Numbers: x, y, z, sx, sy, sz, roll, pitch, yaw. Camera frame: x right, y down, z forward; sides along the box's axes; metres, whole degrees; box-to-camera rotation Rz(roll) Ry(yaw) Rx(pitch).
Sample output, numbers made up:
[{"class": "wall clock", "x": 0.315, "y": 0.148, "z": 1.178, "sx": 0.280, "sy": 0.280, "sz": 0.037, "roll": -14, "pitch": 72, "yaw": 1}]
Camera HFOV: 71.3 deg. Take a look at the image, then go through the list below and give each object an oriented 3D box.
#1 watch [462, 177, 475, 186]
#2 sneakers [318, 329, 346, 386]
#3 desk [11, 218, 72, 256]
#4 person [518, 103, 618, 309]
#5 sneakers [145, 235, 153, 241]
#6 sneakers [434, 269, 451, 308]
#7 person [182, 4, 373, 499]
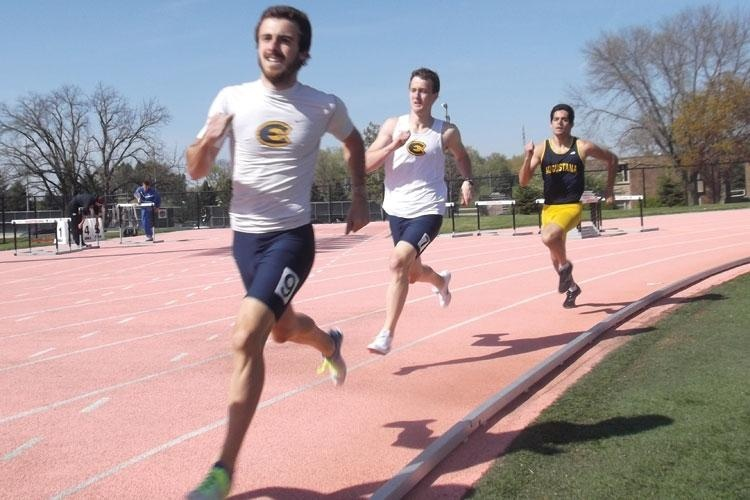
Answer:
[{"class": "watch", "x": 0.964, "y": -0.697, "z": 5.330, "sx": 0.097, "sy": 0.041, "sz": 0.089, "roll": 20, "pitch": 8, "yaw": 20}, {"class": "sneakers", "x": -0.276, "y": 0.783, "z": 3.807, "sx": 0.155, "sy": 0.479, "sz": 0.208, "roll": -3, "pitch": 19, "yaw": 22}, {"class": "desk", "x": -10.795, "y": -0.447, "z": 16.900, "sx": 1.431, "sy": 0.949, "sz": 0.888, "roll": -2, "pitch": 1, "yaw": -9}, {"class": "person", "x": 2.237, "y": -0.492, "z": 6.138, "sx": 1.365, "sy": 2.362, "sz": 0.632, "roll": -7, "pitch": 6, "yaw": -36}, {"class": "sneakers", "x": -8.436, "y": -0.425, "z": 19.413, "sx": 0.502, "sy": 0.203, "sz": 0.169, "roll": 6, "pitch": 5, "yaw": 43}, {"class": "sneakers", "x": 0.713, "y": 0.450, "z": 5.610, "sx": 0.146, "sy": 0.426, "sz": 0.191, "roll": 7, "pitch": 15, "yaw": 32}, {"class": "person", "x": -0.606, "y": -0.115, "z": 3.120, "sx": 0.690, "sy": 2.665, "sz": 1.558, "roll": 0, "pitch": 6, "yaw": 28}]
